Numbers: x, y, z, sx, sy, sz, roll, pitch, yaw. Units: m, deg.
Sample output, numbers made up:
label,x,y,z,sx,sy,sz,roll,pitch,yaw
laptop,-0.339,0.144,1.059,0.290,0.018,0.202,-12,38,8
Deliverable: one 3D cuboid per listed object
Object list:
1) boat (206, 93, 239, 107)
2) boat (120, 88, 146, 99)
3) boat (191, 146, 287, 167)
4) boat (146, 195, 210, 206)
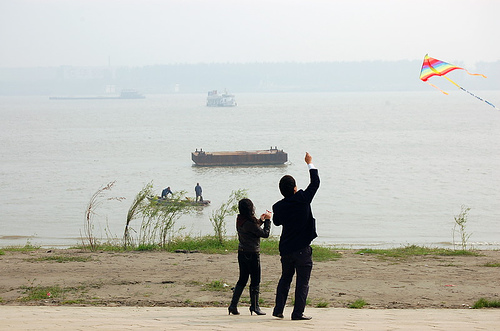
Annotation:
label,x,y,z,sx,sy,sz,roll,pitch,yaw
boat,-8.534,-17.219,247.364,3.961,2.468,7.001,-1,7,-18
boat,-46.276,-27.609,362.869,6.348,3.192,10.213,0,1,-32
boat,-1.426,-0.830,104.026,9.679,2.023,2.376,0,1,-8
boat,-6.109,2.927,76.980,5.614,0.752,1.164,3,-3,14
